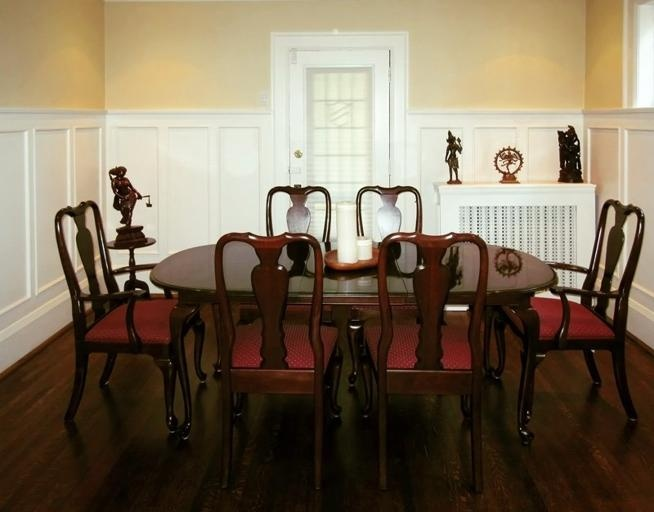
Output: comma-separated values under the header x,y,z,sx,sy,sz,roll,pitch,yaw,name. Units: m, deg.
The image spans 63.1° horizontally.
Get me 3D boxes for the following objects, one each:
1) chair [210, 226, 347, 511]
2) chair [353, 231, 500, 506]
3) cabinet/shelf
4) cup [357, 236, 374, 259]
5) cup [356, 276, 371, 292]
x,y,z,sx,sy,sz,roll,pitch,yaw,name
-0.228,0.322,2.530,0.542,1.334,0.753,-1,25,-6,chair
0.485,0.296,2.538,0.548,1.343,0.780,-1,28,6,chair
1.275,-0.104,3.530,0.765,0.928,0.333,0,3,2,cabinet/shelf
0.194,-0.040,2.761,0.083,0.104,0.091,1,5,0,cup
0.172,0.130,2.495,0.045,0.062,0.054,-3,10,-8,cup
